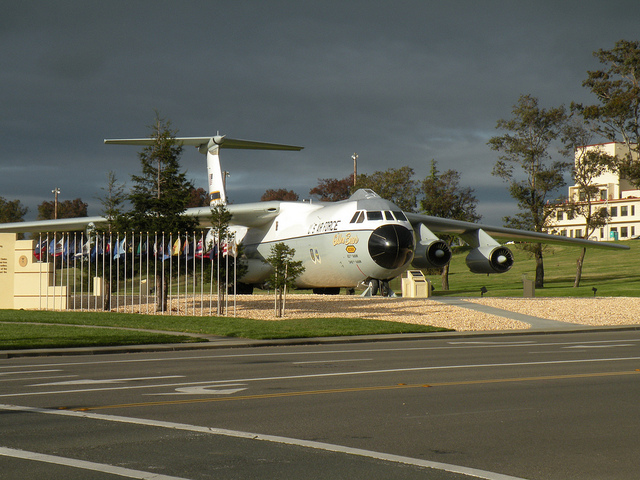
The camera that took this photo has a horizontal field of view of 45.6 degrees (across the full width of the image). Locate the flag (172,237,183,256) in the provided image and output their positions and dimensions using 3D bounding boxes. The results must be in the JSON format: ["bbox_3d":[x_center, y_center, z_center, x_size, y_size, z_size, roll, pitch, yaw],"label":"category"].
[{"bbox_3d":[-6.987,0.291,37.033,0.484,0.688,0.973,12,-43,-14],"label":"flag"}]

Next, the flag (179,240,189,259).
[{"bbox_3d":[-6.715,0.420,37.677,0.407,0.561,1.593,-15,-15,-14],"label":"flag"}]

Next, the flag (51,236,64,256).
[{"bbox_3d":[-12.899,0.315,37.473,0.461,0.813,1.040,1,-3,-32],"label":"flag"}]

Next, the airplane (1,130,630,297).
[{"bbox_3d":[-0.158,-1.681,40.472,19.908,9.373,14.768,-2,-3,16],"label":"airplane"}]

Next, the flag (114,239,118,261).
[{"bbox_3d":[-9.863,0.397,36.770,0.148,0.893,0.592,0,-3,-15],"label":"flag"}]
